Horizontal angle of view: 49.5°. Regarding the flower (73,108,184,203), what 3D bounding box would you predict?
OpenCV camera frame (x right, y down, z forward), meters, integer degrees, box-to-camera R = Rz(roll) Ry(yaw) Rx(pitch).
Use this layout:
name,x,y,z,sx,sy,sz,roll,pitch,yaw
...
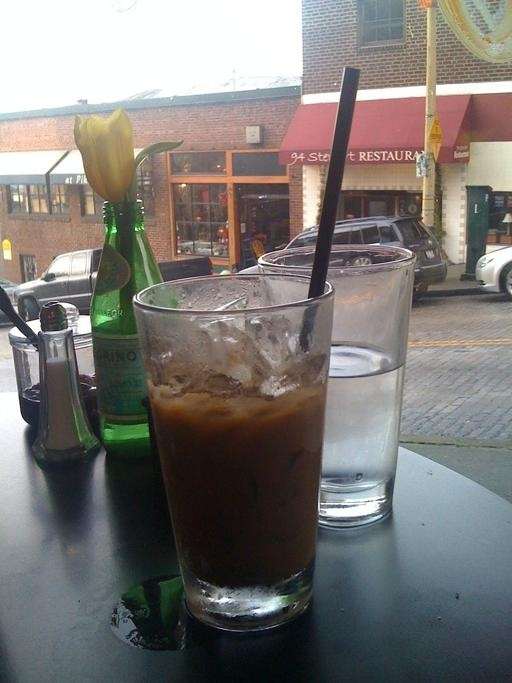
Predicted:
name,x,y,z,sx,sy,sz,roll,pitch,yaw
flower,-0.145,-0.257,0.770,0.176,0.149,0.096,0,15,-7

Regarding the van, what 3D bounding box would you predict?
name,x,y,z,sx,sy,sz,roll,pitch,yaw
van,1.298,-1.220,8.626,3.357,1.197,1.504,1,6,8
